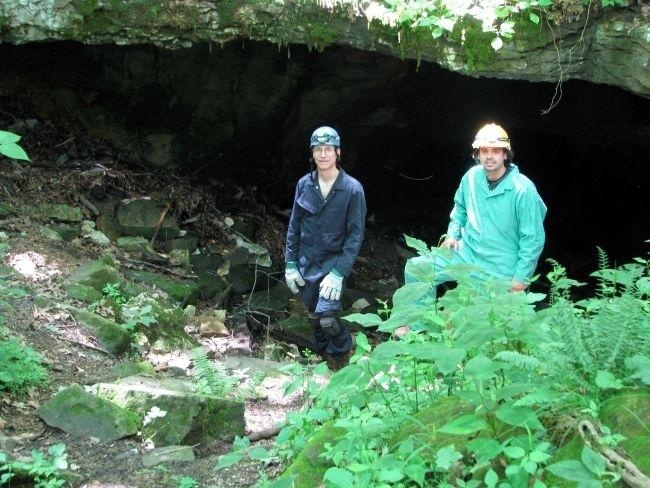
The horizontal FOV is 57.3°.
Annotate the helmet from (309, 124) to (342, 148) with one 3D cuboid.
[{"bbox_3d":[-0.002,-1.019,5.657,0.226,0.220,0.292,2,-10,29],"label":"helmet"}]

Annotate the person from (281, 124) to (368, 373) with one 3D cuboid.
[{"bbox_3d":[-0.039,0.075,5.880,0.771,2.411,0.501,6,15,11],"label":"person"}]

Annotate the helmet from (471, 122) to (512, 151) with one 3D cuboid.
[{"bbox_3d":[1.482,-0.958,5.290,0.243,0.173,0.329,6,5,21],"label":"helmet"}]

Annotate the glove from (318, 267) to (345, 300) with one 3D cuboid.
[{"bbox_3d":[0.055,0.388,5.703,0.233,0.287,0.080,25,9,12],"label":"glove"}]
